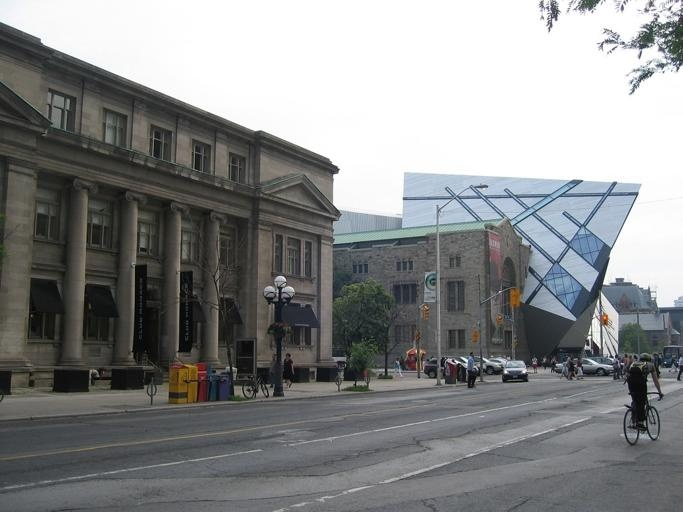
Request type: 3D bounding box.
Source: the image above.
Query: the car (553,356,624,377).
[{"bbox_3d":[25.569,11.080,69.139,2.846,1.820,2.330,-3,-13,3],"label":"car"}]

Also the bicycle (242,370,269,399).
[{"bbox_3d":[-4.404,6.651,34.823,0.997,1.221,2.073,-16,-18,19],"label":"bicycle"}]

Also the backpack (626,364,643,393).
[{"bbox_3d":[7.908,3.260,18.546,0.456,0.784,0.336,-7,-13,22],"label":"backpack"}]

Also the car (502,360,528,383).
[{"bbox_3d":[13.762,9.151,54.930,1.830,1.810,2.056,-7,-14,23],"label":"car"}]

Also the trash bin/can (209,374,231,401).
[{"bbox_3d":[-5.901,6.132,32.315,1.017,1.384,1.116,-4,-7,17],"label":"trash bin/can"}]
